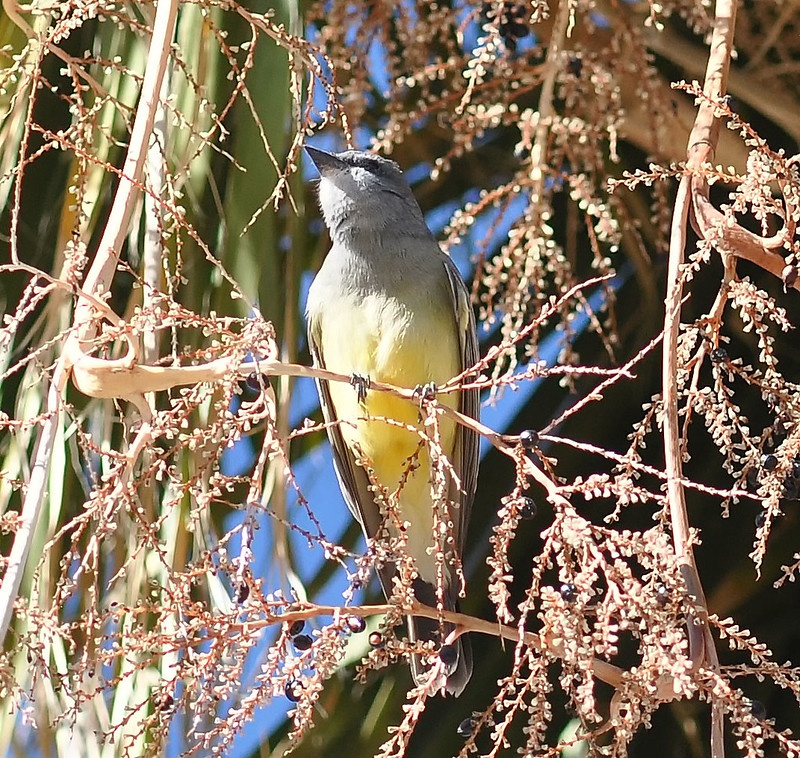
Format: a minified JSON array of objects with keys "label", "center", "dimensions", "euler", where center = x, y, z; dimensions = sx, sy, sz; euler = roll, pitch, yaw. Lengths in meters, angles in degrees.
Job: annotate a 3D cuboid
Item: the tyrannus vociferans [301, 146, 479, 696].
[{"label":"tyrannus vociferans","center":[-0.087,0.331,4.541],"dimensions":[0.456,1.927,0.972],"euler":[-6,17,3]}]
